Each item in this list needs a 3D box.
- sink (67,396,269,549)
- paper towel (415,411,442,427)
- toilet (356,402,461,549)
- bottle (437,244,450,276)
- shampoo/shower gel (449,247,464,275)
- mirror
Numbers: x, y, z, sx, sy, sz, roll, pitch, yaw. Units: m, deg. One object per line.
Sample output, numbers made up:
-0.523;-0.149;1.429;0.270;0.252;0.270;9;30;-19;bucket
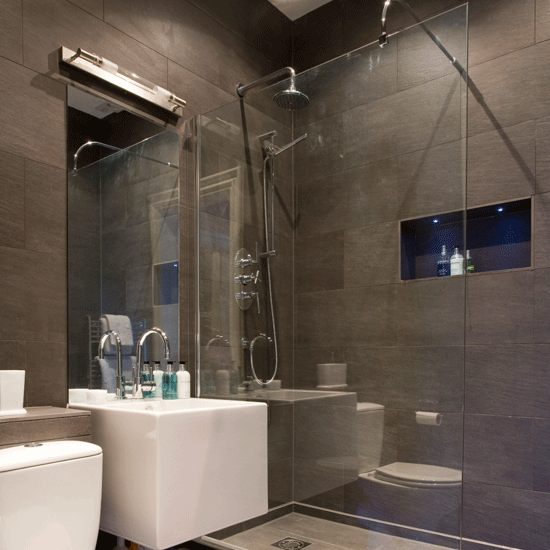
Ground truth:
-0.450;0.590;2.261;0.609;0.571;0.619;-3;-5;33;sink
0.615;0.578;2.230;0.108;0.059;0.009;-5;-4;23;paper towel
0.614;0.819;2.396;0.458;0.776;0.313;-3;-4;42;toilet
0.700;-0.060;2.293;0.049;0.133;0.123;-4;-5;33;bottle
0.742;-0.056;2.270;0.056;0.123;0.109;-3;-4;19;shampoo/shower gel
-0.692;-0.107;2.591;0.546;1.322;0.016;-7;29;-26;mirror
